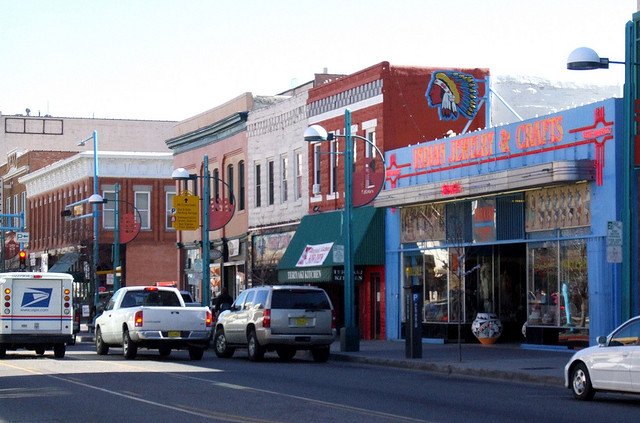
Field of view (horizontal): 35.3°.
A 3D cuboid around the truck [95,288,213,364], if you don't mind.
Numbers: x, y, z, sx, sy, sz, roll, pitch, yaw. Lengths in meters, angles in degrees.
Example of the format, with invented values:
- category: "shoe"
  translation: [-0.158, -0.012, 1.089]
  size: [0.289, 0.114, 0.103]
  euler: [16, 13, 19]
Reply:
- category: "truck"
  translation: [-6.365, 4.148, 37.410]
  size: [2.893, 2.527, 6.172]
  euler: [3, -6, -28]

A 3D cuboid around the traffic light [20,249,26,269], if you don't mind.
- category: "traffic light"
  translation: [-15.917, 2.635, 53.696]
  size: [0.281, 0.879, 1.073]
  euler: [3, -12, -22]

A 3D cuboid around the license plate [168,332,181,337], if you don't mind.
- category: "license plate"
  translation: [-5.057, 4.243, 34.970]
  size: [0.409, 0.152, 0.037]
  euler: [0, -10, -8]

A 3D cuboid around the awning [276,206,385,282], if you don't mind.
- category: "awning"
  translation: [0.308, 1.560, 45.467]
  size: [2.188, 3.380, 5.863]
  euler: [5, -7, -34]

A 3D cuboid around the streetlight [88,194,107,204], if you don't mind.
- category: "streetlight"
  translation: [-13.199, -0.688, 59.353]
  size: [0.746, 0.386, 1.132]
  euler: [2, -4, -7]

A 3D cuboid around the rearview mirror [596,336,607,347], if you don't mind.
- category: "rearview mirror"
  translation: [7.225, 3.306, 25.700]
  size: [0.234, 0.258, 0.125]
  euler: [-4, -1, 17]

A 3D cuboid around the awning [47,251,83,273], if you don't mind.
- category: "awning"
  translation: [-19.093, 3.823, 75.635]
  size: [0.640, 1.085, 2.532]
  euler: [-14, -5, -30]
